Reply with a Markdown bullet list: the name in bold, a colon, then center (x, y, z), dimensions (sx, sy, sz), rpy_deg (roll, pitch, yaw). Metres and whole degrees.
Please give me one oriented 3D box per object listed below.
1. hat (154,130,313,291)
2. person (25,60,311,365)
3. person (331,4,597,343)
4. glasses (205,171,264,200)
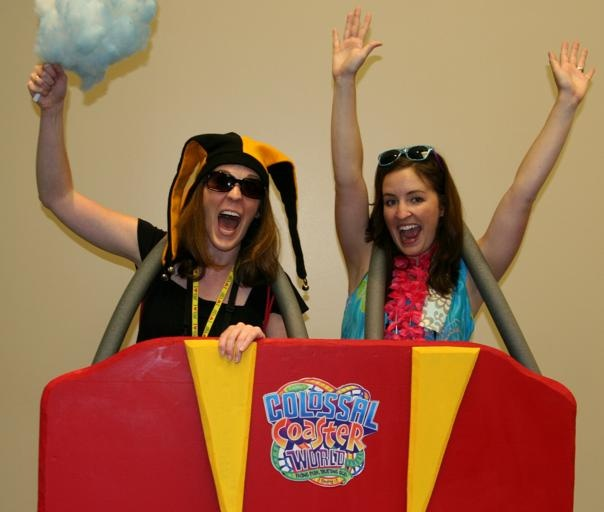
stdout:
- **hat**: center (-0.236, -0.175, 2.648), dimensions (0.409, 0.511, 0.514), rpy_deg (9, 47, -14)
- **person**: center (-0.238, -0.166, 2.666), dimensions (0.832, 0.537, 1.284), rpy_deg (15, 2, -3)
- **person**: center (0.465, -0.225, 2.414), dimensions (0.764, 1.003, 0.458), rpy_deg (2, 17, 1)
- **glasses**: center (-0.203, -0.222, 2.420), dimensions (0.178, 0.087, 0.048), rpy_deg (-1, 18, -9)
